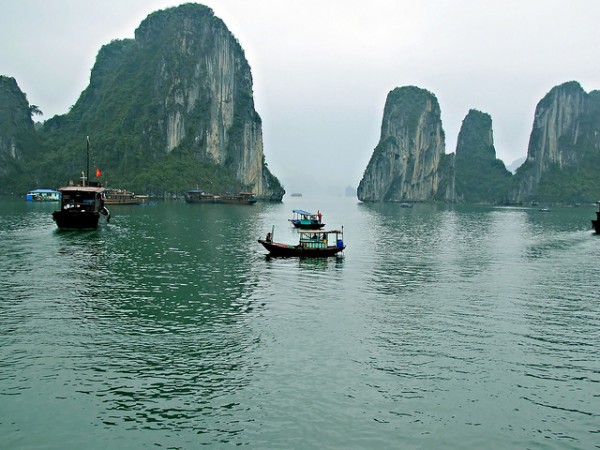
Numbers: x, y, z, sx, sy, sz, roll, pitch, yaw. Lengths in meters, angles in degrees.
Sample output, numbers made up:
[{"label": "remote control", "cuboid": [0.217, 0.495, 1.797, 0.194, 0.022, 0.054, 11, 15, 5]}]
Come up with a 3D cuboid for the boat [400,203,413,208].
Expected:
[{"label": "boat", "cuboid": [43.125, -7.873, 234.856, 3.822, 1.587, 4.721, 3, 12, 7]}]
